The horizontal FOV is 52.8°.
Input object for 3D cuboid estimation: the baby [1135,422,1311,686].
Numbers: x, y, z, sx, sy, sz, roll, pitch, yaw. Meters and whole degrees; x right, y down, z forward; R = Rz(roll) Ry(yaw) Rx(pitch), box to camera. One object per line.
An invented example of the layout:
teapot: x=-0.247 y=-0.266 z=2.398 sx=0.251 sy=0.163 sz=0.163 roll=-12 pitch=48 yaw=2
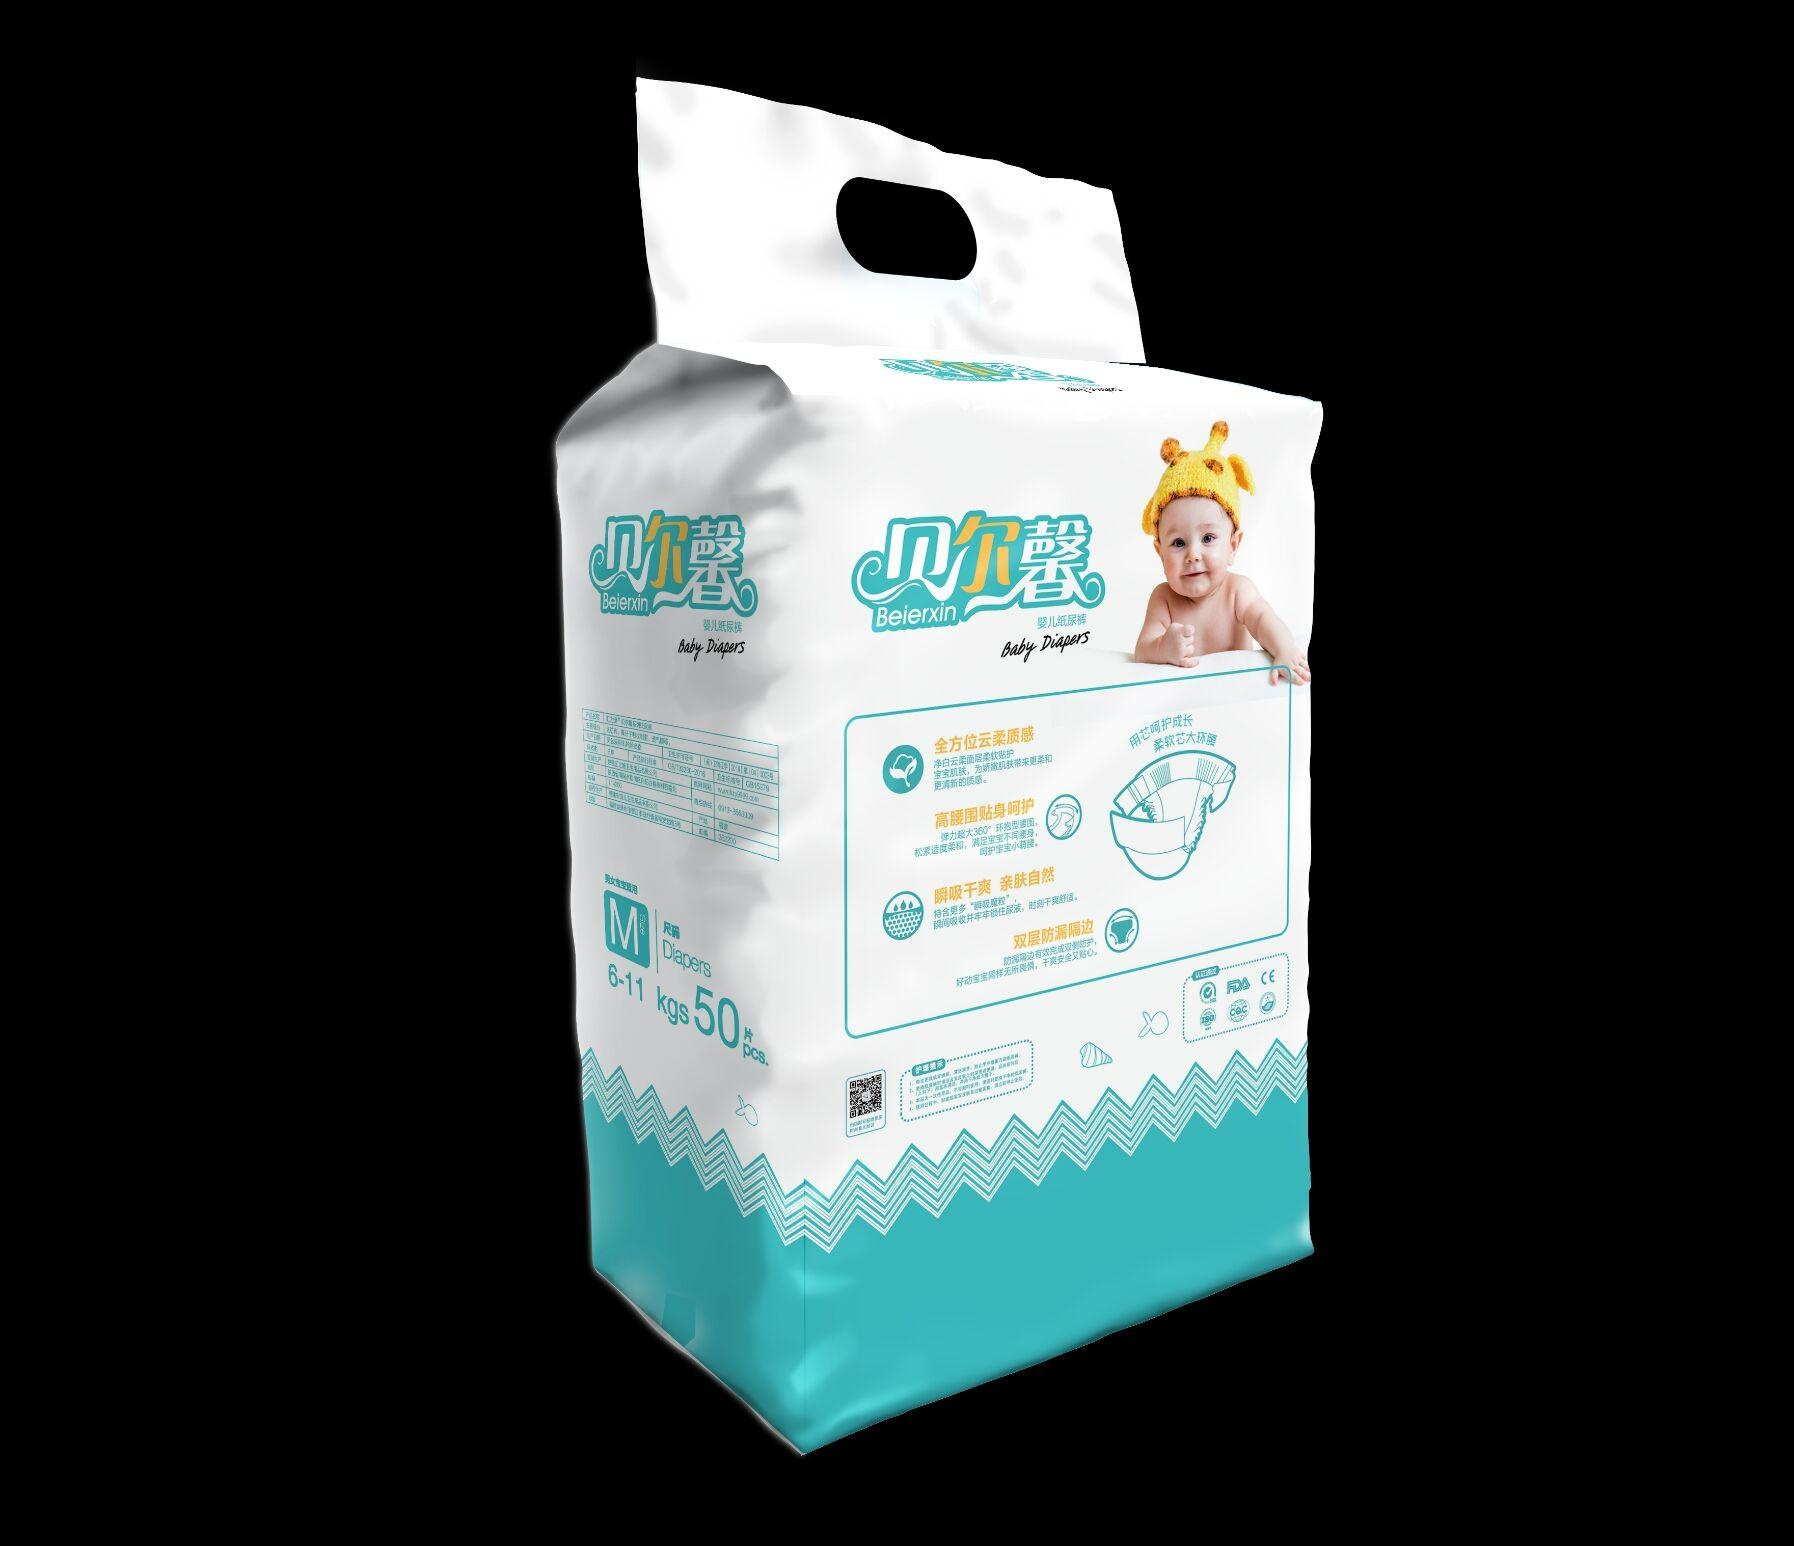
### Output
baby: x=0.458 y=-0.274 z=2.644 sx=0.237 sy=0.483 sz=0.191 roll=-6 pitch=-2 yaw=30

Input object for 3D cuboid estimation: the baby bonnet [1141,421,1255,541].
baby bonnet: x=0.440 y=-0.431 z=2.654 sx=0.151 sy=0.156 sz=0.123 roll=-7 pitch=-4 yaw=33
